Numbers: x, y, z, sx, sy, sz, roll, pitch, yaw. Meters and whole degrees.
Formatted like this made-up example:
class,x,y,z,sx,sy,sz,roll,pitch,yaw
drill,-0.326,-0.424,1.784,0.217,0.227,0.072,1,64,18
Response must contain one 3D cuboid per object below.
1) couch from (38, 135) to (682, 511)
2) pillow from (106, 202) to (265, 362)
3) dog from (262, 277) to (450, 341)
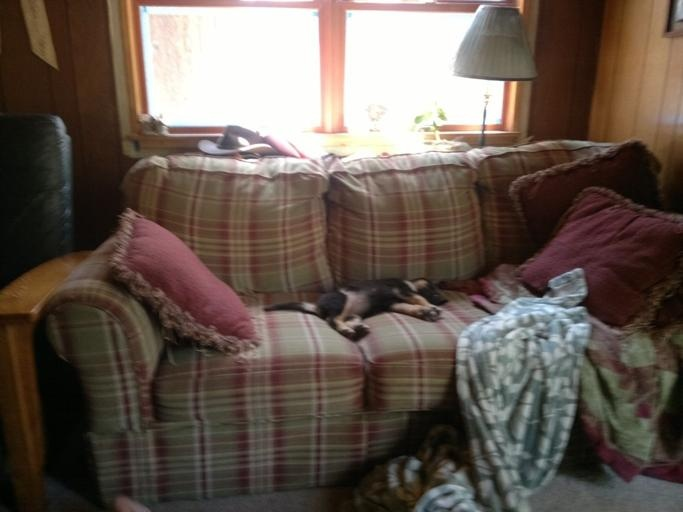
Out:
class,x,y,z,sx,sy,sz,roll,pitch,yaw
couch,0.081,0.292,2.273,2.456,0.836,0.718,-2,58,-1
pillow,-0.592,0.089,2.227,0.465,0.448,0.492,-7,21,-11
dog,0.056,0.225,2.417,0.726,0.114,0.245,-1,16,-11
